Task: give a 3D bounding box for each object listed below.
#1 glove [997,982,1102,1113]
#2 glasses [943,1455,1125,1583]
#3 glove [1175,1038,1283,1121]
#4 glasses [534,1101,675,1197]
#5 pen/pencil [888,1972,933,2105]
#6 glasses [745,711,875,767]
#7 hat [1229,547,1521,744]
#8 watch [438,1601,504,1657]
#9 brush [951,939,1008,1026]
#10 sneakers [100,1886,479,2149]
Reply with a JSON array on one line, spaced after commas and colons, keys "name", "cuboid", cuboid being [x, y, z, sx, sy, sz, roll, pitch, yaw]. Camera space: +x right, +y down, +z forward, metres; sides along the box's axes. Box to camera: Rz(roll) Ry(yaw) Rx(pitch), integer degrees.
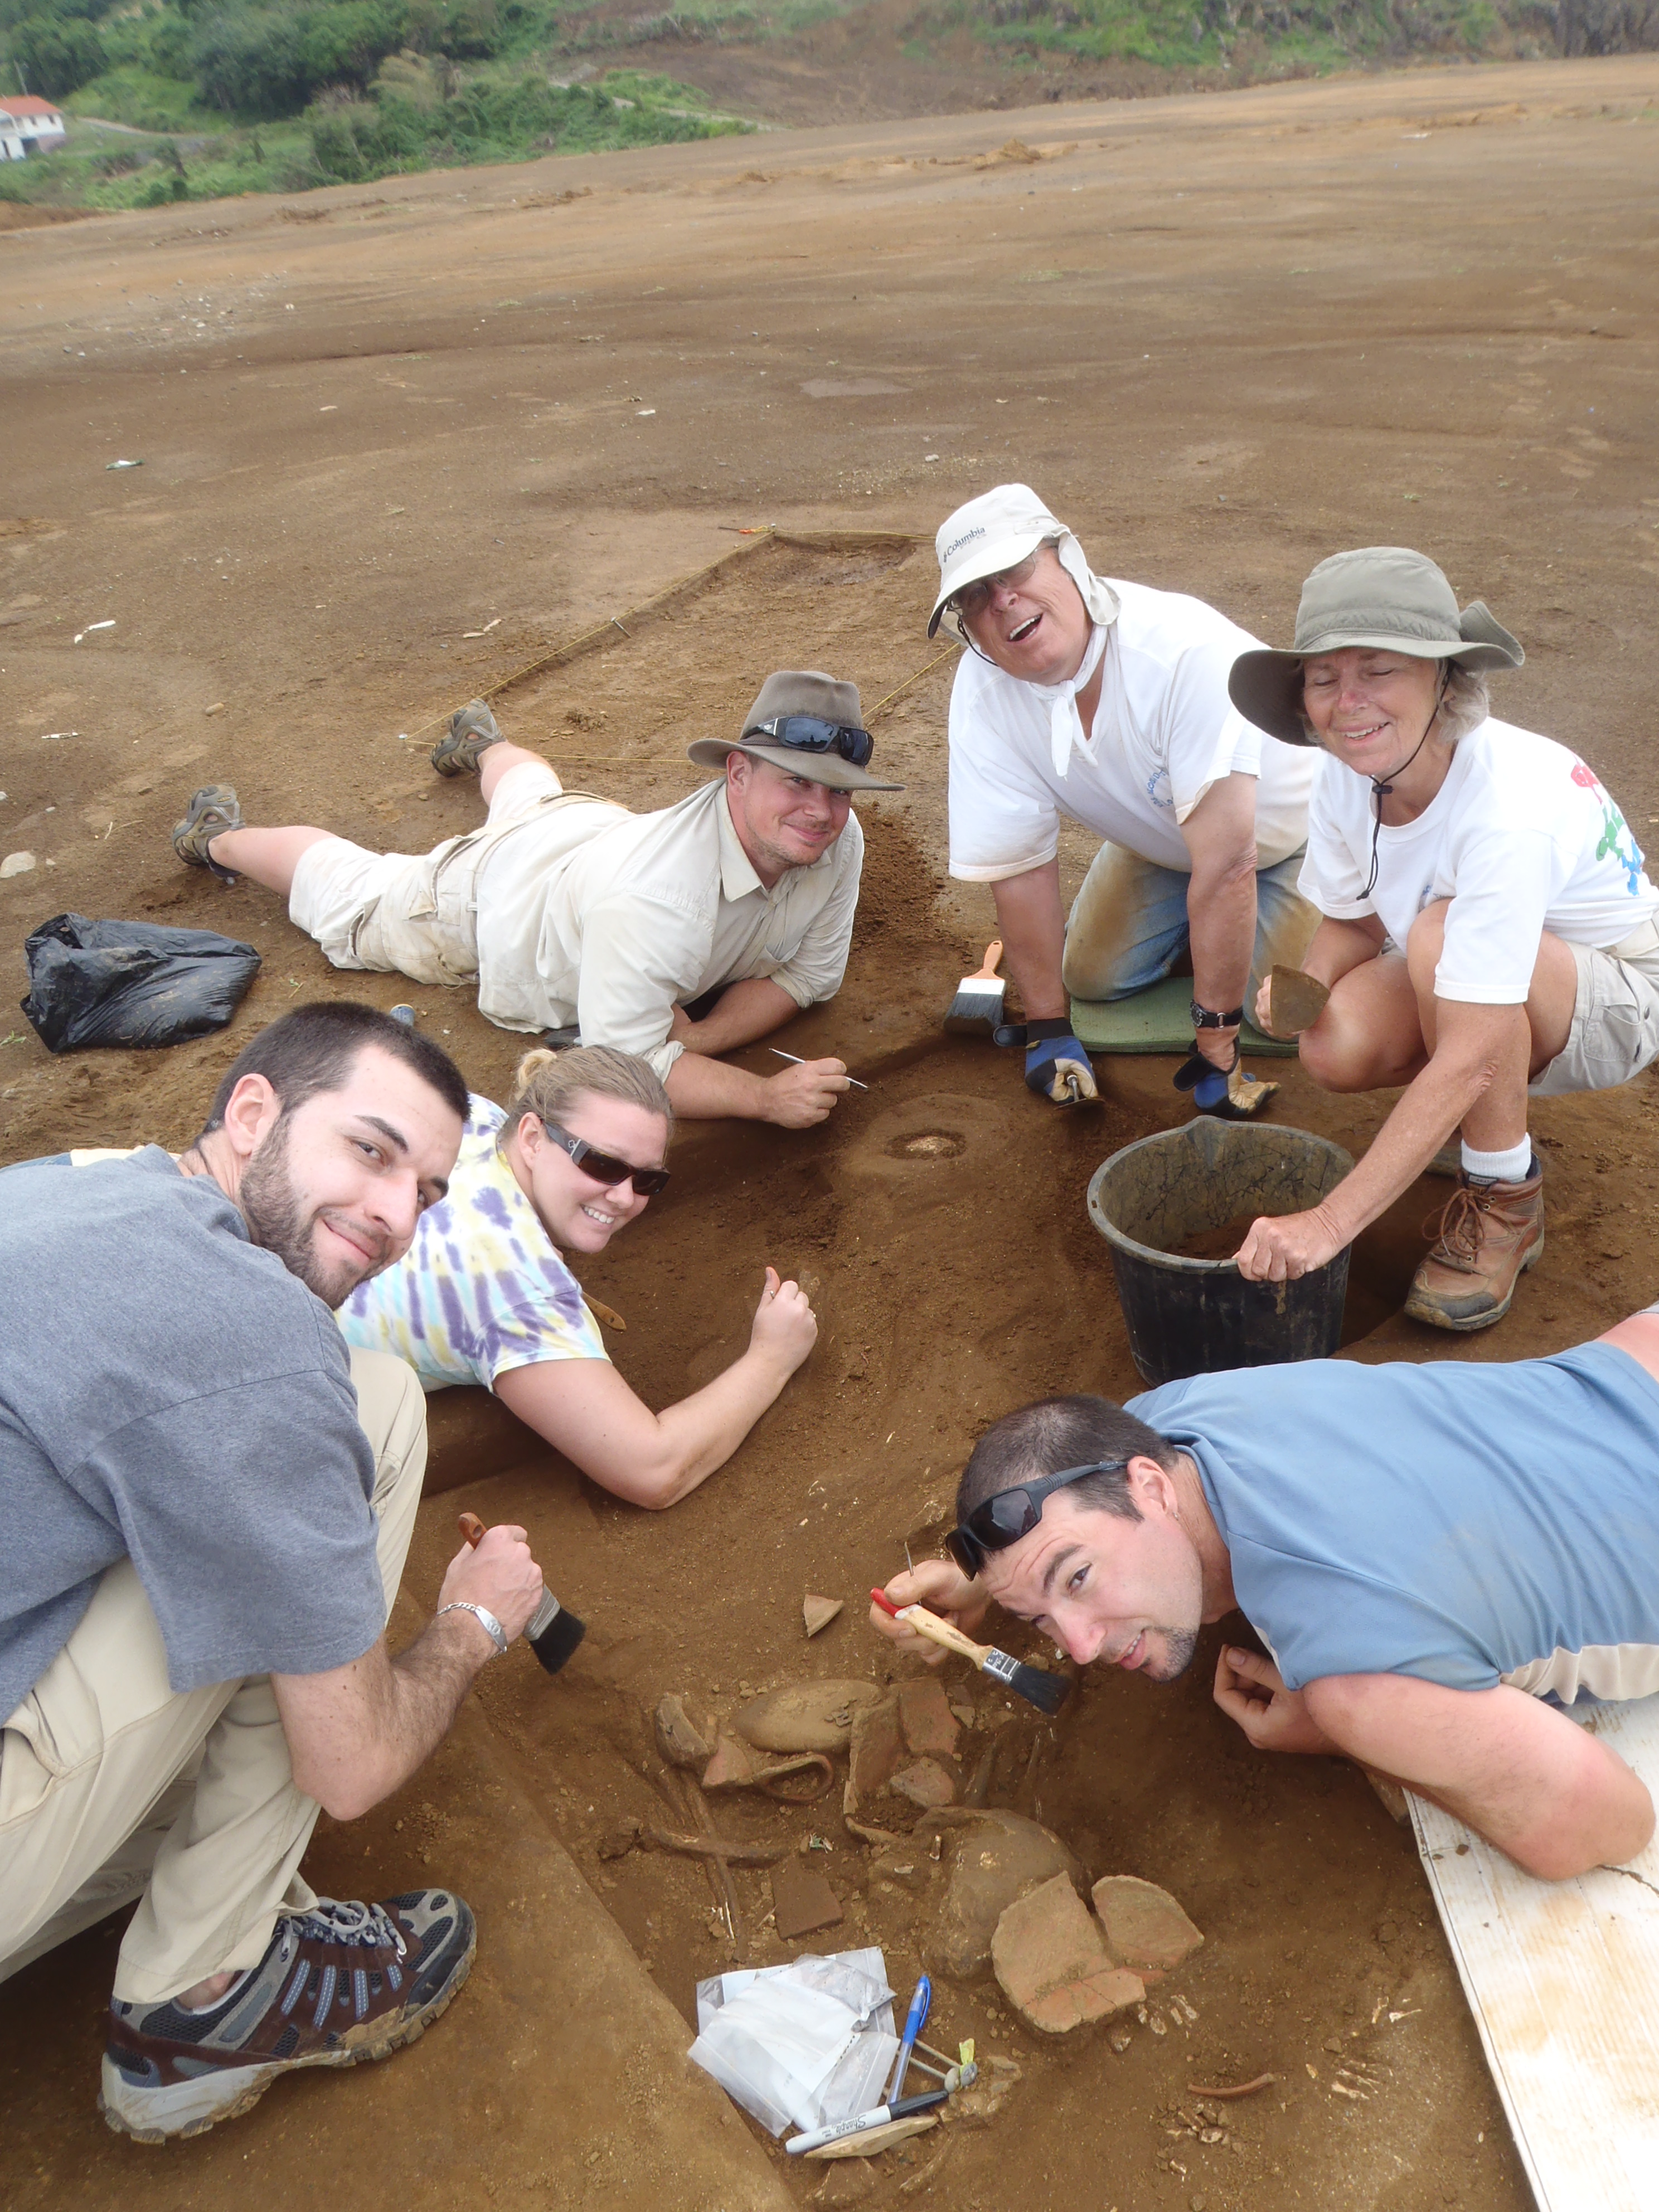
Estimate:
[{"name": "glove", "cuboid": [0.473, -0.105, 4.074, 0.118, 0.095, 0.305, -29, 27, -1]}, {"name": "glasses", "cuboid": [0.270, 0.502, 2.321, 0.178, 0.048, 0.165, -21, -8, -26]}, {"name": "glove", "cuboid": [0.823, -0.042, 3.911, 0.135, 0.087, 0.212, -28, 29, -20]}, {"name": "glasses", "cuboid": [-0.371, 0.081, 3.077, 0.154, 0.160, 0.045, 39, 97, 39]}, {"name": "pen/pencil", "cuboid": [0.101, 1.147, 2.312, 0.030, 0.023, 0.133, 28, 37, 1]}, {"name": "glasses", "cuboid": [-0.037, -0.746, 3.918, 0.260, 0.140, 0.132, -7, 30, -5]}, {"name": "hat", "cuboid": [0.873, -0.712, 3.062, 0.351, 0.382, 0.435, -7, 29, -4]}, {"name": "watch", "cuboid": [-0.453, 0.675, 2.437, 0.075, 0.049, 0.074, -7, -9, 30]}, {"name": "brush", "cuboid": [0.368, -0.290, 4.382, 0.088, 0.054, 0.269, 2, 29, 19]}, {"name": "sneakers", "cuboid": [-0.607, 1.016, 2.314, 0.523, 0.214, 0.188, -19, 41, -27]}]
